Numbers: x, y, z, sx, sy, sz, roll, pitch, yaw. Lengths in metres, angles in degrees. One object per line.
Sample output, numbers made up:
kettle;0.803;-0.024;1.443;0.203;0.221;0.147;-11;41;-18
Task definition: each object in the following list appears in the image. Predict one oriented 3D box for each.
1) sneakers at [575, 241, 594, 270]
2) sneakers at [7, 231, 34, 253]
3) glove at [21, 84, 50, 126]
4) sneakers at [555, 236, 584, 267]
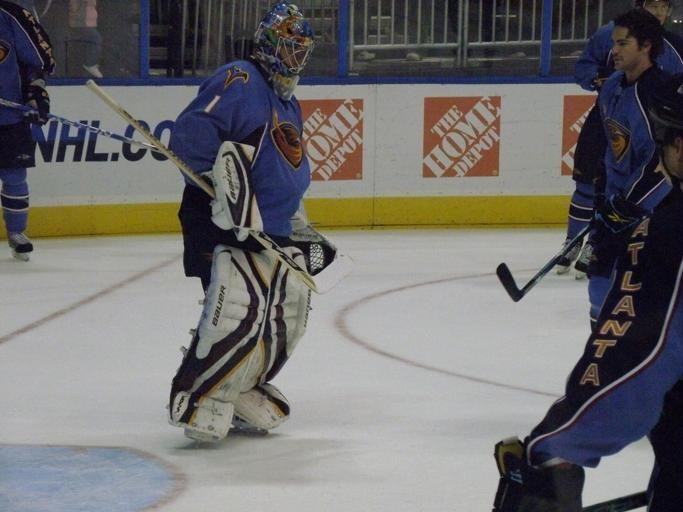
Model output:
sneakers;1.266;-0.001;5.199;0.049;0.176;0.068;22;9;41
sneakers;-2.229;-0.096;6.965;0.098;0.103;0.233;-2;19;-38
glove;-2.037;-1.021;6.725;0.100;0.260;0.197;-5;-27;13
sneakers;1.343;-0.021;5.840;0.091;0.220;0.067;-18;48;-39
